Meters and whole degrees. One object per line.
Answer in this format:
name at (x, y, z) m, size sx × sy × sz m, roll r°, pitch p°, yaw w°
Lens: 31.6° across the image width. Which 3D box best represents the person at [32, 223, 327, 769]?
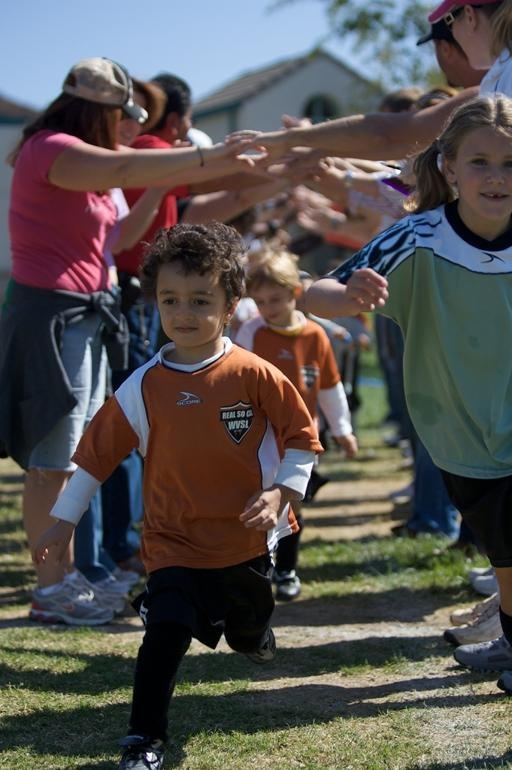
person at (-0.224, 0.224, 2.411) m, size 0.507 × 1.367 × 0.718 m, roll 0°, pitch 3°, yaw 45°
